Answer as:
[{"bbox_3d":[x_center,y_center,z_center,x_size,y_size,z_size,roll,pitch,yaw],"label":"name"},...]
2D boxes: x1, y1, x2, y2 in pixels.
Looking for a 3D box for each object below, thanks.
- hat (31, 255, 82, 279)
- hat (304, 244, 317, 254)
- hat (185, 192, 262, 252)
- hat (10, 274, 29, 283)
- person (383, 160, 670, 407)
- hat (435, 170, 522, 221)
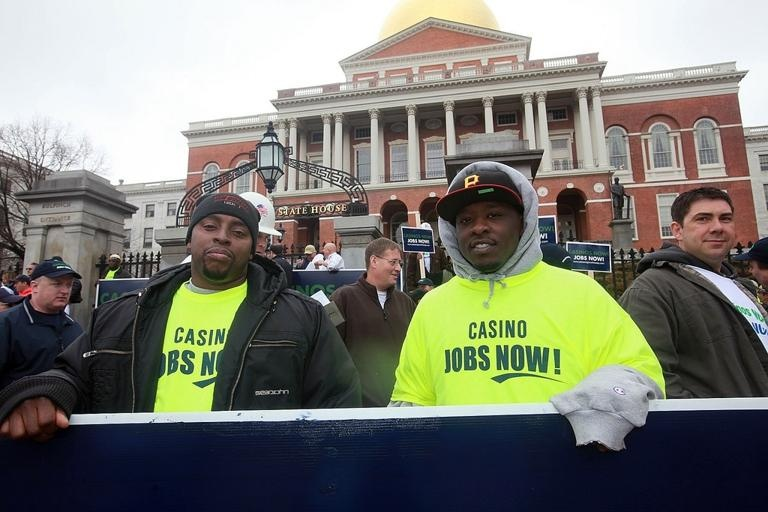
[{"bbox_3d":[-3.141,0.073,5.936,0.370,0.167,0.253,-5,-9,13],"label":"hat"},{"bbox_3d":[-1.502,-0.150,12.673,0.212,0.134,0.278,-5,-4,9],"label":"hat"},{"bbox_3d":[-1.023,-0.265,4.256,0.369,0.362,0.490,17,-4,-40],"label":"hat"},{"bbox_3d":[-4.983,0.299,8.579,0.194,0.097,0.132,6,-5,-22],"label":"hat"},{"bbox_3d":[0.769,0.135,3.740,1.436,1.495,0.365,-3,-8,23],"label":"person"},{"bbox_3d":[0.561,-0.451,3.934,0.374,0.237,0.494,-17,-7,12],"label":"hat"}]
